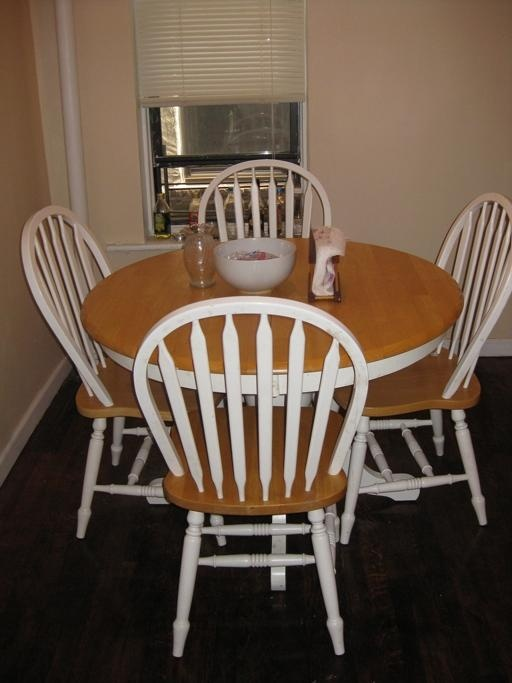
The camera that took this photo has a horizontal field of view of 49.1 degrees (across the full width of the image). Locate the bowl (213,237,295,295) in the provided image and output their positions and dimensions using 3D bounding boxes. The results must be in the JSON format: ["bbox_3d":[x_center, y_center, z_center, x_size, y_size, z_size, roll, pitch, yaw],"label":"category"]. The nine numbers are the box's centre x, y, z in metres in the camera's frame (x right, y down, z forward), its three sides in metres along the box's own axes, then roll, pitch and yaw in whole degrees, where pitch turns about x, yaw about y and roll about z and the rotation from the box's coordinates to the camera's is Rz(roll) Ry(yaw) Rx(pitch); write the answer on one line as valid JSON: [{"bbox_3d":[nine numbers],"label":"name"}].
[{"bbox_3d":[0.001,-0.197,1.493,0.182,0.102,0.184,-1,24,0],"label":"bowl"}]

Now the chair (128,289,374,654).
[{"bbox_3d":[-0.015,0.242,1.233,0.433,0.830,0.416,-7,26,-8],"label":"chair"}]
